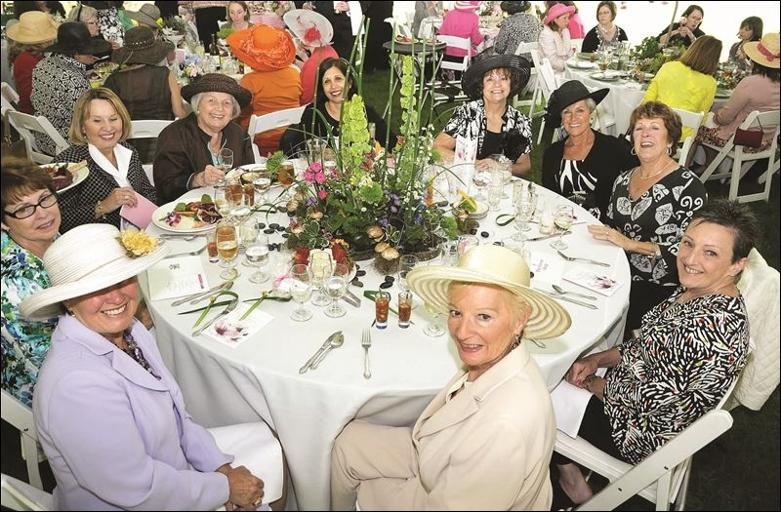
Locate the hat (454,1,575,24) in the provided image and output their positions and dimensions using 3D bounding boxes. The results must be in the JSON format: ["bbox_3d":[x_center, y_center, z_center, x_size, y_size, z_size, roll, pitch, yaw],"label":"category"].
[{"bbox_3d":[2.472,-4.029,8.733,1.122,0.274,1.082,-2,21,-4],"label":"hat"}]

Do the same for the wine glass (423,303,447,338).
[{"bbox_3d":[0.258,0.342,3.014,0.165,0.186,0.169,3,36,1],"label":"wine glass"}]

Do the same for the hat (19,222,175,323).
[{"bbox_3d":[-1.497,0.046,2.613,0.491,0.538,0.206,-30,86,-37],"label":"hat"}]

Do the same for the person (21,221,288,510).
[{"bbox_3d":[-1.254,0.628,2.794,1.044,1.692,0.811,-5,36,-18],"label":"person"}]

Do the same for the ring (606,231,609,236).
[{"bbox_3d":[1.524,-0.156,3.711,0.025,0.006,0.025,-3,74,10],"label":"ring"}]

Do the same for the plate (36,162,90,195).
[{"bbox_3d":[-2.363,-0.586,3.901,0.365,0.063,0.373,8,37,-7],"label":"plate"}]

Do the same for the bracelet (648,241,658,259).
[{"bbox_3d":[1.901,-0.036,3.810,0.044,0.089,0.067,-1,40,-15],"label":"bracelet"}]

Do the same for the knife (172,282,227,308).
[{"bbox_3d":[-1.146,0.241,3.167,0.269,0.041,0.040,-22,62,-20],"label":"knife"}]

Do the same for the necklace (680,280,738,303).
[{"bbox_3d":[1.852,0.214,3.100,0.172,0.228,0.082,0,76,-36],"label":"necklace"}]

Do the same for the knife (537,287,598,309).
[{"bbox_3d":[1.028,0.247,3.067,0.288,0.034,0.033,22,5,15],"label":"knife"}]

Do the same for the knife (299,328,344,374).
[{"bbox_3d":[-0.364,0.521,2.863,0.104,0.025,0.329,32,44,2],"label":"knife"}]
